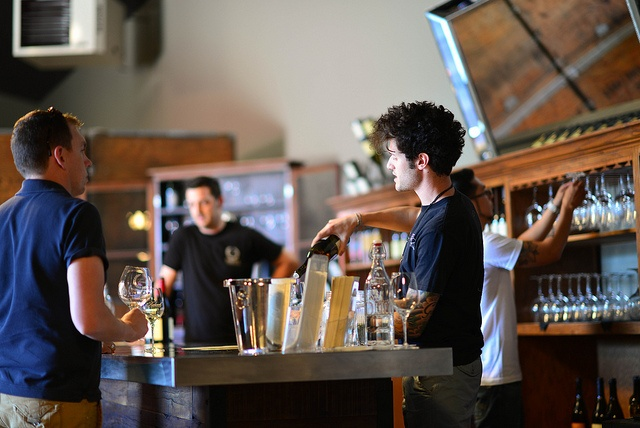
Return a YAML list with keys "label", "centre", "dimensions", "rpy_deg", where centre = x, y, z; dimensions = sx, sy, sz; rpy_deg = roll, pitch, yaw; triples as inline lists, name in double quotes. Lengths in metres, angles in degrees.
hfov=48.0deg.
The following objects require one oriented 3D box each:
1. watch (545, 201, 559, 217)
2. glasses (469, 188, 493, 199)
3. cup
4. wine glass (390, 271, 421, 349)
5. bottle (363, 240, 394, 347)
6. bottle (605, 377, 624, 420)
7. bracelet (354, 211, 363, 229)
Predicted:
- label: "watch"
  centre: [1.421, -0.036, 4.428]
  dimensions: [0.085, 0.059, 0.082]
  rpy_deg: [26, -21, -6]
- label: "glasses"
  centre: [1.016, -0.128, 4.522]
  dimensions: [0.154, 0.051, 0.124]
  rpy_deg: [-9, -2, 13]
- label: "cup"
  centre: [-0.331, 0.469, 3.306]
  dimensions: [0.209, 0.339, 0.126]
  rpy_deg: [-3, -8, 6]
- label: "wine glass"
  centre: [0.391, 0.438, 3.340]
  dimensions: [0.105, 0.335, 0.118]
  rpy_deg: [5, -11, -41]
- label: "bottle"
  centre: [0.276, 0.380, 3.442]
  dimensions: [0.136, 0.489, 0.184]
  rpy_deg: [-3, -8, 4]
- label: "bottle"
  centre: [1.812, 1.134, 4.446]
  dimensions: [0.111, 0.249, 0.339]
  rpy_deg: [-6, -10, 21]
- label: "bracelet"
  centre: [0.208, 0.030, 3.862]
  dimensions: [0.021, 0.062, 0.048]
  rpy_deg: [-6, 0, 13]
